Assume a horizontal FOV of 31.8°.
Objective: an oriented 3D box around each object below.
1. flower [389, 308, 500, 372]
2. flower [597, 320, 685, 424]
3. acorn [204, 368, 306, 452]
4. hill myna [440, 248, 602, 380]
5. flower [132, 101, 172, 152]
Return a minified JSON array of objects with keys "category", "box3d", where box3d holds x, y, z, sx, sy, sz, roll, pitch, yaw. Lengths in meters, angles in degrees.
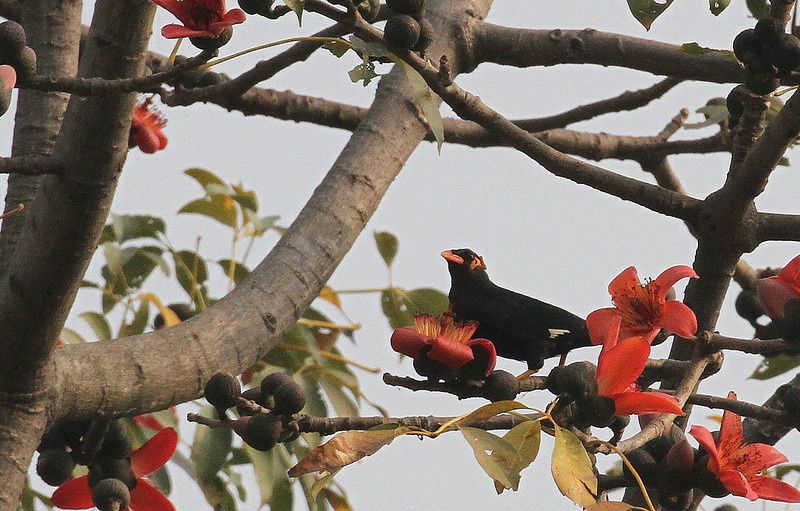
[{"category":"flower","box3d":[0.113,0.215,3.437,0.193,0.178,0.105,18,-98,1]},{"category":"flower","box3d":[0.540,0.283,3.307,0.154,0.176,0.238,-27,-64,13]},{"category":"acorn","box3d":[-0.322,0.347,3.231,0.208,0.107,0.196,-16,-106,-16]},{"category":"hill myna","box3d":[0.320,0.164,3.662,0.530,0.172,0.317,10,-93,-25]},{"category":"flower","box3d":[-0.725,-0.378,4.079,0.098,0.198,0.140,10,-62,-6]}]
